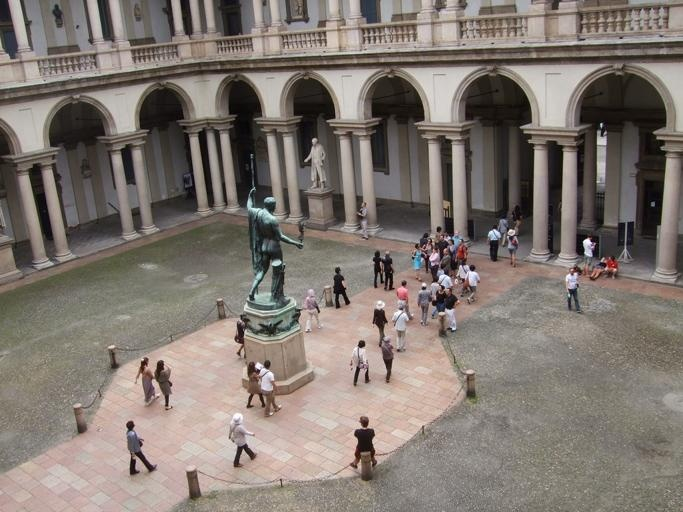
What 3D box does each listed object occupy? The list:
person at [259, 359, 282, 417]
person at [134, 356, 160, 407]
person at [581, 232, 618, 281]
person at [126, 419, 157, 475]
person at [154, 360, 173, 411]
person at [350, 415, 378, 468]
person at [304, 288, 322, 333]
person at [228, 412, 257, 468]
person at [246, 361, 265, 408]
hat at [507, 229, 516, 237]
[{"bbox_3d":[-1.912,3.315,12.558,0.494,1.493,0.791,-6,17,-11],"label":"person"},{"bbox_3d":[-5.393,3.410,13.315,0.699,1.356,0.495,-9,16,-37],"label":"person"},{"bbox_3d":[10.431,0.045,19.289,1.143,1.572,1.228,11,42,26],"label":"person"},{"bbox_3d":[-4.533,4.270,10.701,0.533,1.254,0.428,-2,10,-9],"label":"person"},{"bbox_3d":[-4.893,3.446,13.116,0.388,1.458,0.647,-10,18,-24],"label":"person"},{"bbox_3d":[0.452,3.896,10.149,0.565,1.349,0.478,-2,19,-1],"label":"person"},{"bbox_3d":[-1.030,1.635,16.700,0.563,1.569,1.578,-4,17,-3],"label":"person"},{"bbox_3d":[-2.218,4.056,10.740,0.549,1.265,0.370,-8,18,-26],"label":"person"},{"bbox_3d":[-2.242,3.341,12.493,0.463,1.275,0.414,3,12,16],"label":"person"},{"bbox_3d":[7.133,-1.031,20.022,0.287,0.232,0.653,2,18,16],"label":"hat"}]
